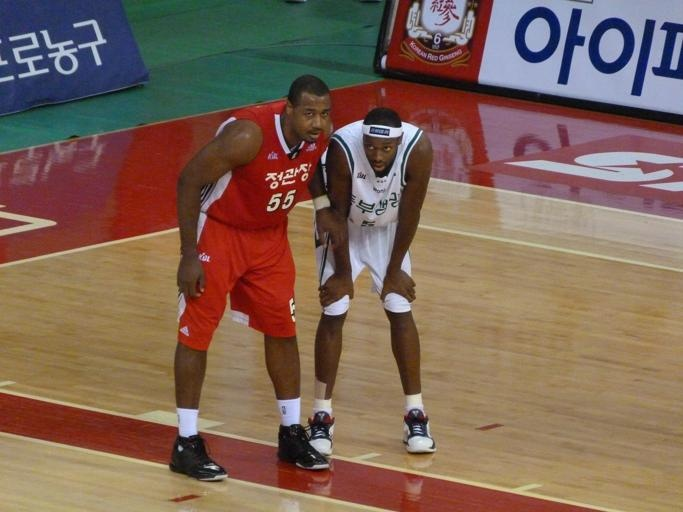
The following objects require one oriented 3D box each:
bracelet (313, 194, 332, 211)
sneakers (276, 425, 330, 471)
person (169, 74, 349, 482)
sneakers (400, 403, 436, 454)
[{"bbox_3d":[-0.109,-0.291,4.640,0.087,0.063,0.085,-6,-5,-1],"label":"bracelet"},{"bbox_3d":[-0.165,1.007,4.516,0.373,0.213,0.143,7,8,36],"label":"sneakers"},{"bbox_3d":[-0.455,0.103,4.351,0.974,2.020,0.614,-4,15,-15],"label":"person"},{"bbox_3d":[0.429,0.973,4.699,0.122,0.128,0.291,-2,8,-5],"label":"sneakers"}]
